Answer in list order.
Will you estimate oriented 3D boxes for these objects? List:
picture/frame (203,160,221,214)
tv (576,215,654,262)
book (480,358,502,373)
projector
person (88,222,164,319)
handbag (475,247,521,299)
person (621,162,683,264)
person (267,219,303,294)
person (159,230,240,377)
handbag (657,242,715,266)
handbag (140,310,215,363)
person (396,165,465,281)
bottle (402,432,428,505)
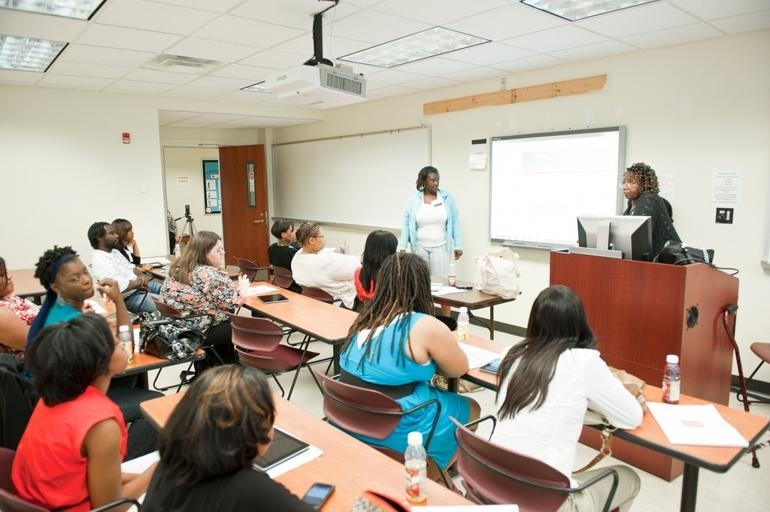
[{"bbox_3d":[-3.698,-1.540,10.774,0.629,1.230,0.047,3,7,22],"label":"picture/frame"},{"bbox_3d":[1.708,-0.144,3.742,0.156,0.318,0.525,-5,8,-38],"label":"tv"},{"bbox_3d":[0.700,0.730,3.239,0.121,0.022,0.204,2,9,23],"label":"book"},{"bbox_3d":[-0.627,-1.623,4.592,0.667,0.286,0.680,12,11,32],"label":"projector"},{"bbox_3d":[-2.814,0.170,5.238,0.815,1.469,0.891,0,11,-28],"label":"person"},{"bbox_3d":[1.148,0.184,5.017,0.448,0.432,0.421,-12,-14,40],"label":"handbag"},{"bbox_3d":[2.349,-0.245,4.321,0.452,1.104,0.397,-7,6,-11],"label":"person"},{"bbox_3d":[-1.192,-0.063,6.207,0.430,0.952,0.437,16,19,34],"label":"person"},{"bbox_3d":[-1.631,0.513,4.491,0.587,1.341,0.803,11,11,41],"label":"person"},{"bbox_3d":[2.189,0.004,3.611,0.316,0.135,0.240,0,7,-31],"label":"handbag"},{"bbox_3d":[-1.578,0.588,3.600,0.384,0.138,0.303,10,10,26],"label":"handbag"},{"bbox_3d":[0.582,-0.379,6.265,0.556,1.610,0.620,-1,3,-13],"label":"person"},{"bbox_3d":[0.147,1.000,2.352,0.099,0.273,0.224,0,6,2],"label":"bottle"}]
